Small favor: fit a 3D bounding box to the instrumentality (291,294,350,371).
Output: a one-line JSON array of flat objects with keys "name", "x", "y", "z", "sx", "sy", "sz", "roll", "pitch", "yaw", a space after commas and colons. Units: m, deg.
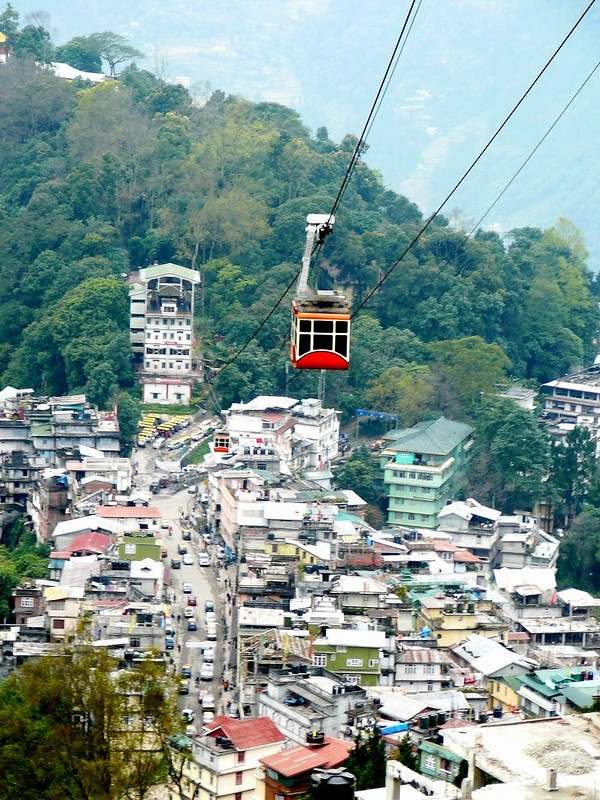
[{"name": "instrumentality", "x": 0.388, "y": -0.945, "z": 26.528, "sx": 0.984, "sy": 1.064, "sz": 1.651, "roll": 2, "pitch": 5, "yaw": -1}]
